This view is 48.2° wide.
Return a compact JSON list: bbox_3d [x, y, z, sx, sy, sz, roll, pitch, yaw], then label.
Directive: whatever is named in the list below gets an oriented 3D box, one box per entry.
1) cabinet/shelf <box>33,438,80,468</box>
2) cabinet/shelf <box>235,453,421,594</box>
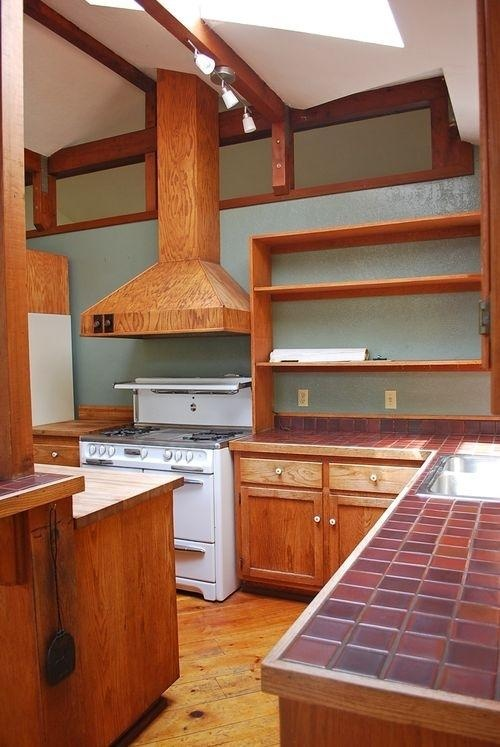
[{"bbox_3d":[-1.228,0.507,3.547,0.376,0.192,0.254,0,-2,15],"label":"cabinet/shelf"},{"bbox_3d":[0.442,0.756,2.916,0.971,0.736,0.381,-1,0,24],"label":"cabinet/shelf"}]
